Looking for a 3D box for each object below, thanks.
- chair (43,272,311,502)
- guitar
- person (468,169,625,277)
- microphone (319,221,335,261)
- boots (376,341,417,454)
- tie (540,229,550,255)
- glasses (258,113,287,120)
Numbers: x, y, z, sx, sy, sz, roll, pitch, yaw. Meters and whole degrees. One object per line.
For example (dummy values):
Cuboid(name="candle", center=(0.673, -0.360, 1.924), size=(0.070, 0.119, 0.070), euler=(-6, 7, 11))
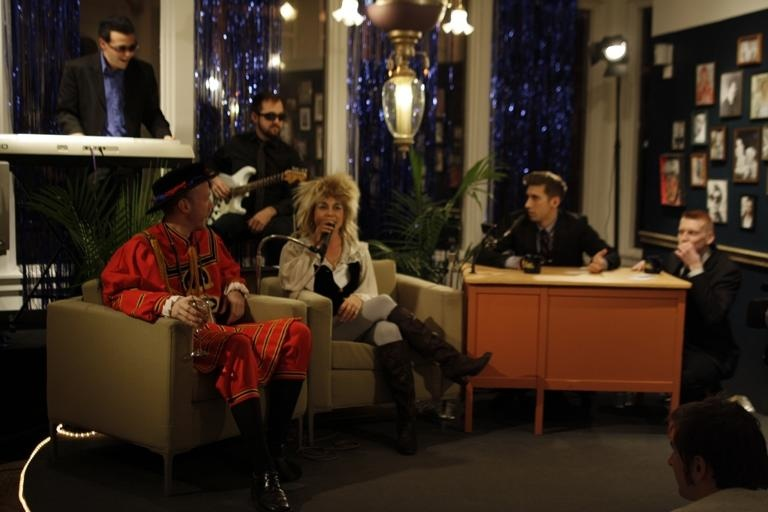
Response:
Cuboid(name="chair", center=(-1.213, 0.618, 3.652), size=(0.929, 0.925, 0.952), euler=(-1, -2, 37))
Cuboid(name="guitar", center=(-0.948, -0.479, 4.898), size=(0.776, 0.348, 0.098), euler=(-13, -6, 8))
Cuboid(name="person", center=(1.211, -0.179, 4.596), size=(0.957, 0.812, 0.659), euler=(0, -3, 26))
Cuboid(name="microphone", center=(-0.340, -0.072, 4.076), size=(0.057, 0.272, 0.067), euler=(10, -22, -19))
Cuboid(name="boots", center=(0.098, 0.824, 3.915), size=(0.176, 0.578, 0.333), euler=(-3, 13, -16))
Cuboid(name="tie", center=(1.131, -0.093, 4.615), size=(0.076, 0.161, 0.036), euler=(0, -3, 3))
Cuboid(name="glasses", center=(-0.826, -1.041, 4.951), size=(0.185, 0.061, 0.075), euler=(-9, 16, -35))
